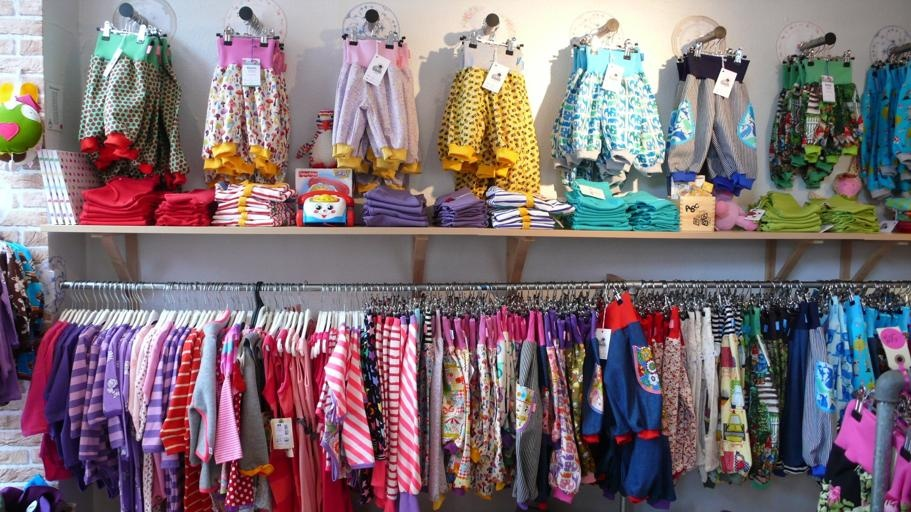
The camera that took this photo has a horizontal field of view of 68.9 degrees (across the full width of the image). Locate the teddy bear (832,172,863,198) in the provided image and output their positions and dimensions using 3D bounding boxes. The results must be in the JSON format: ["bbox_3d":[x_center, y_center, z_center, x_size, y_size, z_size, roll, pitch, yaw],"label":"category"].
[{"bbox_3d":[3.069,-0.541,5.143,0.217,0.184,0.086,0,7,-11],"label":"teddy bear"}]

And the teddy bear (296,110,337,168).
[{"bbox_3d":[-0.953,-0.821,4.670,0.354,0.405,0.169,8,10,44],"label":"teddy bear"}]

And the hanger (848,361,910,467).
[{"bbox_3d":[2.353,0.890,3.811,0.442,0.548,0.183,0,0,-26],"label":"hanger"}]

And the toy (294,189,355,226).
[{"bbox_3d":[-0.872,-0.319,4.454,0.366,0.234,0.172,0,7,-12],"label":"toy"}]
